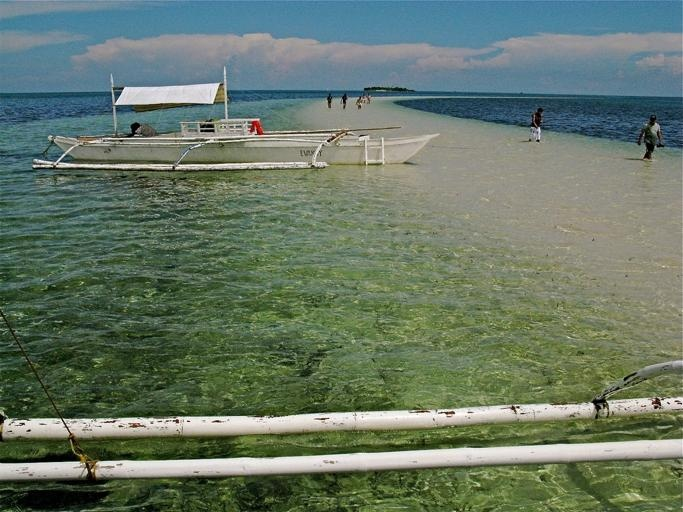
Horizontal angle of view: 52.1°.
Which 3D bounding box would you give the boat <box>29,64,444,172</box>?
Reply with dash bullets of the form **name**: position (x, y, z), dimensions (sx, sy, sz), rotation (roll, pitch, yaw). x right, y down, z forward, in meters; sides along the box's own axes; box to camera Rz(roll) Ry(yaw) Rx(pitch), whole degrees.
- **boat**: position (-4.706, -5.209, 26.711), dimensions (10.381, 3.844, 7.193), rotation (7, 13, 35)
